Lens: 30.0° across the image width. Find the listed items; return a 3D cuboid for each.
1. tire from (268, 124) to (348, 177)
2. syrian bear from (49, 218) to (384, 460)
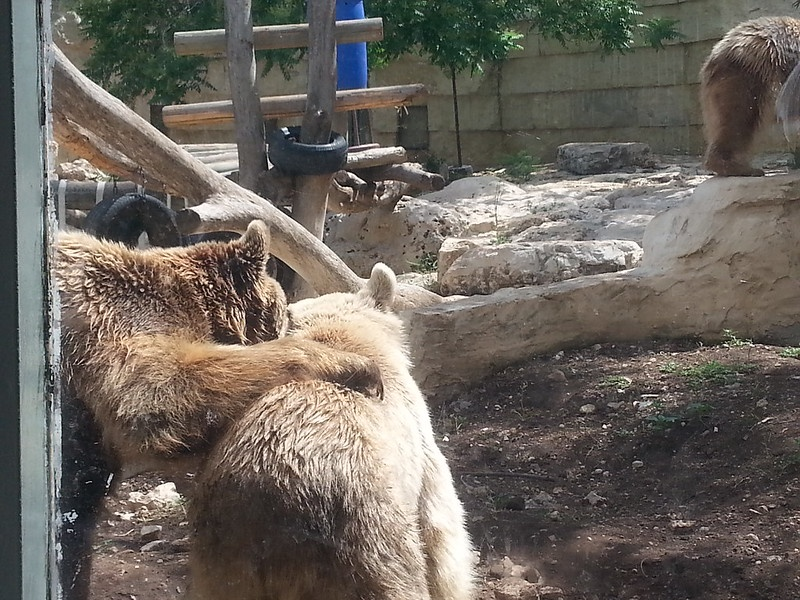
[{"bbox_3d":[-0.792,-1.205,12.434,0.560,0.389,0.782,-4,16,-40],"label":"tire"},{"bbox_3d":[-1.136,0.216,8.419,1.568,1.318,0.490,3,12,-14],"label":"syrian bear"}]
